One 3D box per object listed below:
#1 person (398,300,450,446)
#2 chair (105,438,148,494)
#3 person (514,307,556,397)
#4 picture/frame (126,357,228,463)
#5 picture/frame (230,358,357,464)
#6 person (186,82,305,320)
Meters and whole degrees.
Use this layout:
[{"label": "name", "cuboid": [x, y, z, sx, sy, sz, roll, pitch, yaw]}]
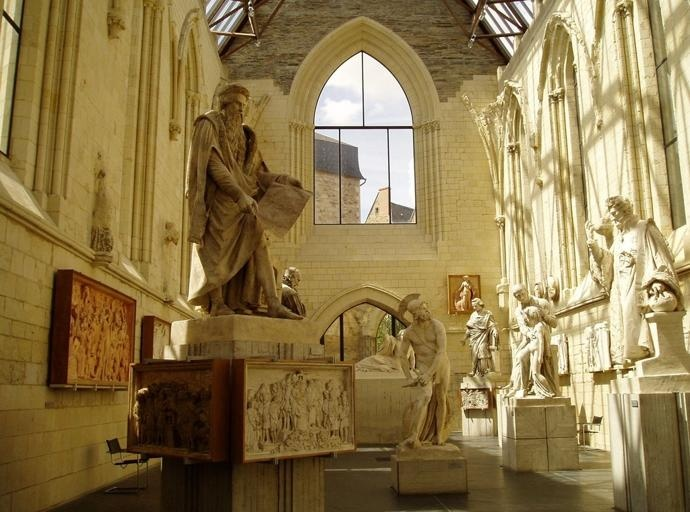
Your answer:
[{"label": "person", "cuboid": [1.063, 1.551, 9.314, 0.680, 1.882, 0.498, 0, -15, -6]}, {"label": "chair", "cuboid": [-2.917, 2.807, 9.477, 0.644, 0.706, 0.656, -8, -12, 37]}, {"label": "person", "cuboid": [2.998, 1.528, 11.216, 0.533, 1.472, 0.486, -7, -16, 21]}, {"label": "picture/frame", "cuboid": [-1.524, 1.372, 6.337, 0.913, 0.805, 0.270, -2, -8, 22]}, {"label": "picture/frame", "cuboid": [-0.507, 1.396, 6.341, 0.951, 0.711, 0.139, 6, -17, -32]}, {"label": "person", "cuboid": [-1.042, -0.541, 6.818, 0.946, 2.288, 0.605, 2, -15, -14]}]
